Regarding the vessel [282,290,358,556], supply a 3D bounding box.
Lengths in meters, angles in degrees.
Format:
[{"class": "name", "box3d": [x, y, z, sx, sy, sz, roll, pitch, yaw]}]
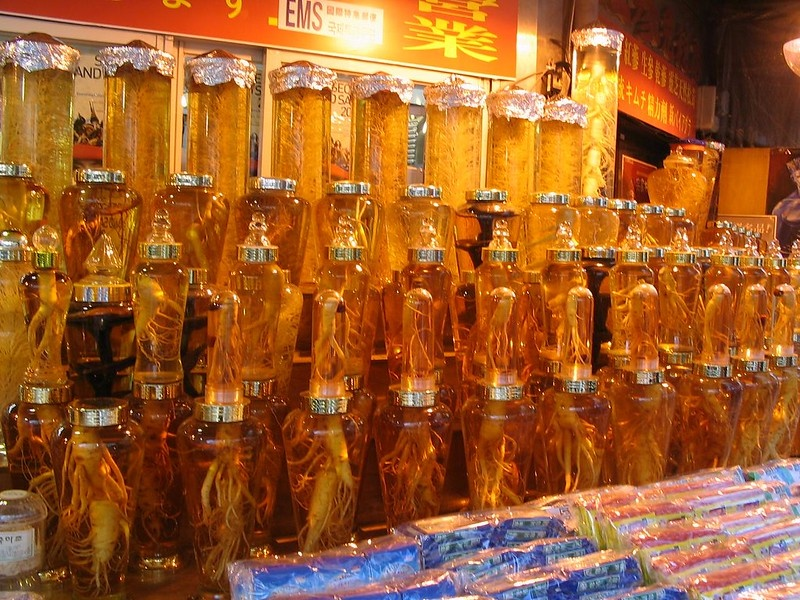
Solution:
[{"class": "vessel", "box3d": [-0.120, 0.187, 1.032, 0.130, 0.398, 0.069, -1, 2, -1]}]

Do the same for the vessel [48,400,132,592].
[{"class": "vessel", "box3d": [-0.416, 0.273, 0.922, 0.114, 0.273, 0.059, -1, 2, -18]}]

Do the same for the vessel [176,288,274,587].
[{"class": "vessel", "box3d": [-0.256, 0.207, 0.963, 0.116, 0.430, 0.053, -1, 2, -18]}]
